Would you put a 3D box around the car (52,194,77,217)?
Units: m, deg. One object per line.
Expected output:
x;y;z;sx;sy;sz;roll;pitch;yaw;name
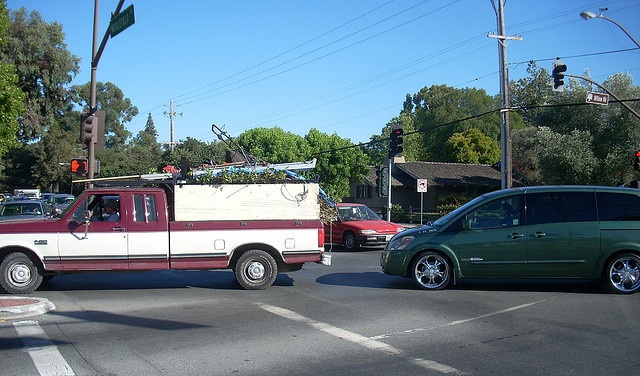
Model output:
-11.379;0.771;22.662;0.887;0.692;1.983;-1;-4;-25;car

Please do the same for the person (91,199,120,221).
-6.136;0.687;15.033;0.793;0.662;0.592;2;-3;11;person

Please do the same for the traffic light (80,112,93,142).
-8.395;-2.136;18.440;0.447;1.086;0.376;-4;10;-24;traffic light

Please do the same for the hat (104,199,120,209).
-6.063;0.491;14.938;0.369;0.254;0.281;-1;-12;24;hat

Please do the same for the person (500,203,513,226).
5.379;0.792;14.729;0.339;0.773;0.595;2;-6;1;person

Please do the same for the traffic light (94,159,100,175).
-8.617;-0.776;19.728;0.193;0.599;1.048;-5;9;-24;traffic light

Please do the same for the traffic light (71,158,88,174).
-8.813;-0.796;18.769;0.653;0.575;0.348;1;6;-12;traffic light
